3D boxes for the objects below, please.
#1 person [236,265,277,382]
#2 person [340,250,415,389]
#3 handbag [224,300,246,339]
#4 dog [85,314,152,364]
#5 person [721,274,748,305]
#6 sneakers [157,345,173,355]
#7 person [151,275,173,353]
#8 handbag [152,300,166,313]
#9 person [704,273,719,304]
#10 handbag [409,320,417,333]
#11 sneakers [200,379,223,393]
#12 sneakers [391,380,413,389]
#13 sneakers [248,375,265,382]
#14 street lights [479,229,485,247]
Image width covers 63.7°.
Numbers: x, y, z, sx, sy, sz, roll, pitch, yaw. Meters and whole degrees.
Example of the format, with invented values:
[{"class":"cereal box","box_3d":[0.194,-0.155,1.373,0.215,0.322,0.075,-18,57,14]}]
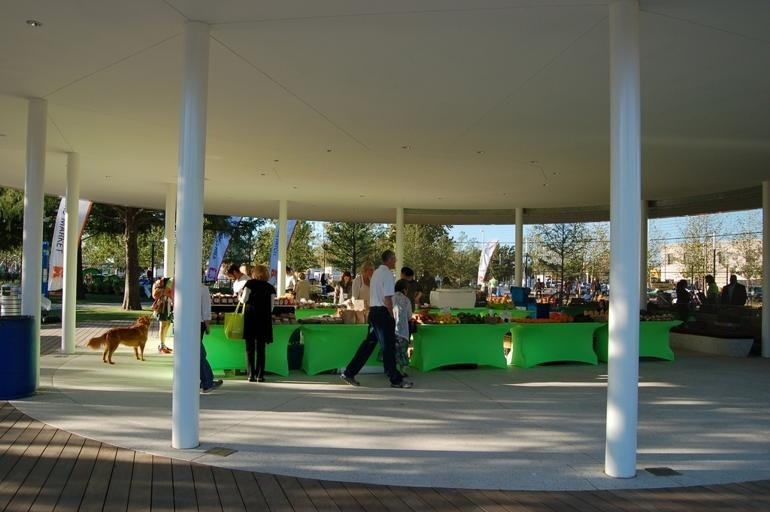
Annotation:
[{"class":"person","box_3d":[-2.170,1.135,10.575,0.538,2.006,0.305,0,3,-12]},{"class":"person","box_3d":[-0.084,1.048,10.509,1.077,2.277,0.450,1,3,2]},{"class":"handbag","box_3d":[-2.558,1.127,10.593,0.293,0.664,0.446,0,3,-17]},{"class":"dog","box_3d":[-5.263,1.641,12.514,1.039,0.924,1.521,0,3,-17]},{"class":"person","box_3d":[8.777,0.860,15.501,0.381,0.731,0.805,1,3,-1]},{"class":"sneakers","box_3d":[-4.854,2.067,13.725,0.161,0.170,0.401,2,3,-3]},{"class":"person","box_3d":[-4.981,1.306,13.933,0.365,1.675,1.391,0,3,-20]},{"class":"handbag","box_3d":[-4.895,1.099,13.448,0.404,0.301,0.135,3,4,31]},{"class":"person","box_3d":[8.707,0.852,16.561,0.261,0.725,0.914,2,3,22]},{"class":"handbag","box_3d":[0.488,1.234,10.996,0.154,0.209,0.207,-2,-17,4]},{"class":"sneakers","box_3d":[-2.745,2.061,9.858,0.374,0.163,0.126,-15,14,-42]},{"class":"sneakers","box_3d":[0.279,2.153,10.421,0.277,0.110,0.151,-2,-6,6]},{"class":"sneakers","box_3d":[-2.200,2.091,10.628,0.292,0.123,0.100,3,-1,-11]},{"class":"street lights","box_3d":[3.916,-0.838,24.823,0.236,0.483,0.069,3,4,24]}]
